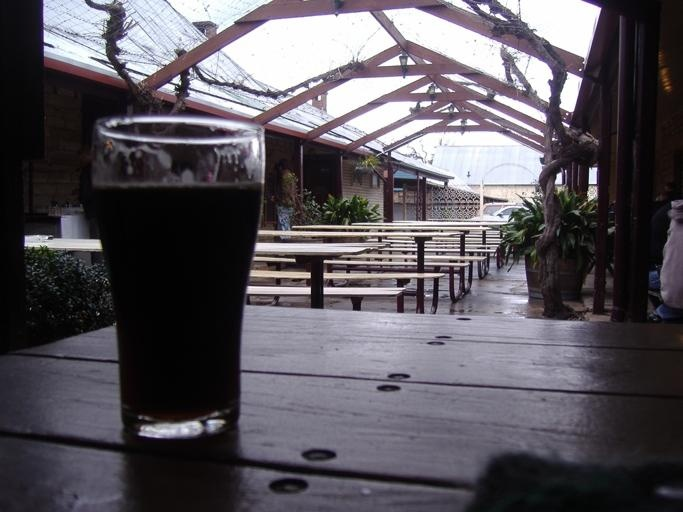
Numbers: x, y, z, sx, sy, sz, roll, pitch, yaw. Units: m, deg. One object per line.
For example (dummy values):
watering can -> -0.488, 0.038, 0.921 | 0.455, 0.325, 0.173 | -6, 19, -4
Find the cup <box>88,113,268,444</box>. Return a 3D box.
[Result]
cup -> -0.148, 0.020, 0.478 | 0.154, 0.296, 0.085 | -2, 4, -22

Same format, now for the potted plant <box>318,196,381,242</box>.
potted plant -> 0.278, -1.258, 14.214 | 1.379, 0.817, 1.162 | 15, 9, -9

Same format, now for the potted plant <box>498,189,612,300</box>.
potted plant -> 3.082, -0.168, 7.877 | 1.663, 1.689, 1.733 | -2, 5, 29
